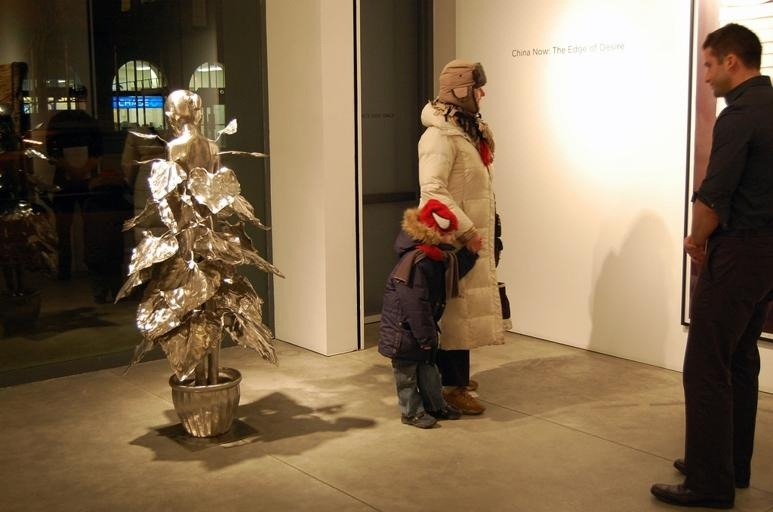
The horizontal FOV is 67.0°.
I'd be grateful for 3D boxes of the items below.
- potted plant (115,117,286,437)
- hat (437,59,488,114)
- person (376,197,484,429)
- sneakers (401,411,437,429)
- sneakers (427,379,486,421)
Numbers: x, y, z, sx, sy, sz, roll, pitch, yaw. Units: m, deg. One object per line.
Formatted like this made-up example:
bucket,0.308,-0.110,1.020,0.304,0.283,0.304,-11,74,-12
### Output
potted plant,-1.217,0.222,3.846,0.960,1.935,0.837,-5,15,-27
hat,0.520,-1.204,4.174,0.373,0.384,0.294,-6,19,-3
person,0.243,0.392,3.912,0.569,1.518,0.430,1,12,8
sneakers,0.226,1.119,3.968,0.198,0.091,0.101,-1,3,18
sneakers,0.521,1.048,4.150,0.474,0.213,0.166,-2,3,8
